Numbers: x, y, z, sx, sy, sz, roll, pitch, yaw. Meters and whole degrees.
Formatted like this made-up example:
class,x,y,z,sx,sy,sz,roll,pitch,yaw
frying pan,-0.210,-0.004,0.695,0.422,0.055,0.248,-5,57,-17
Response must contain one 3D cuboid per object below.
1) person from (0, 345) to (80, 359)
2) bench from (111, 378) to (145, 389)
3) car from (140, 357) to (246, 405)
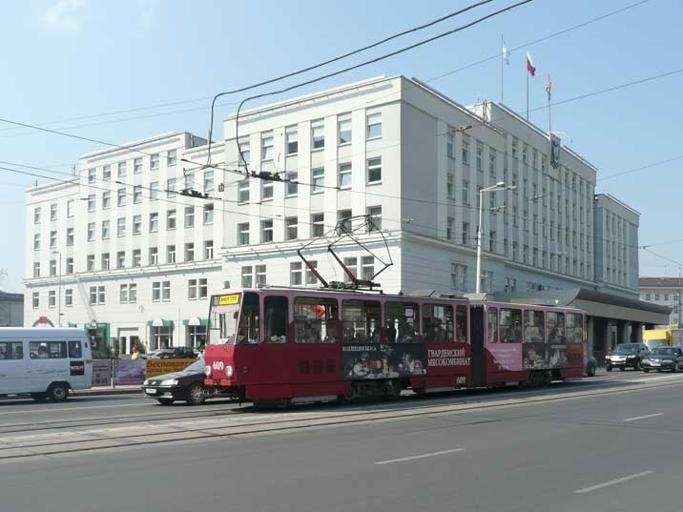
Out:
class,x,y,z,sx,sy,sz,roll,pitch,yaw
person,-10.581,3.297,31.835,2.758,0.636,0.381,2,-4,-42
bench,-8.800,5.174,37.146,1.330,0.458,2.201,0,-4,-13
car,-4.882,4.340,30.363,3.147,1.291,1.413,10,-13,-41
